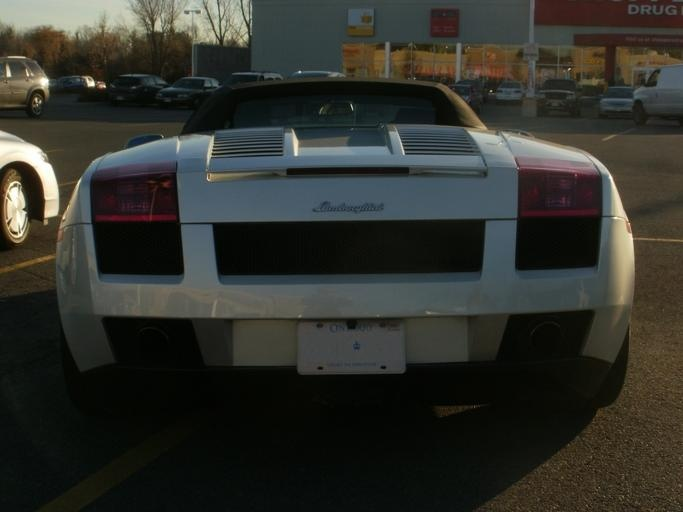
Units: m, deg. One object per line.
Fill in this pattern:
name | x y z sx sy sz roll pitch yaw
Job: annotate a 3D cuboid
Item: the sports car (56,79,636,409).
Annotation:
sports car | 0.020 0.062 3.349 2.499 1.365 1.264 0 11 0
